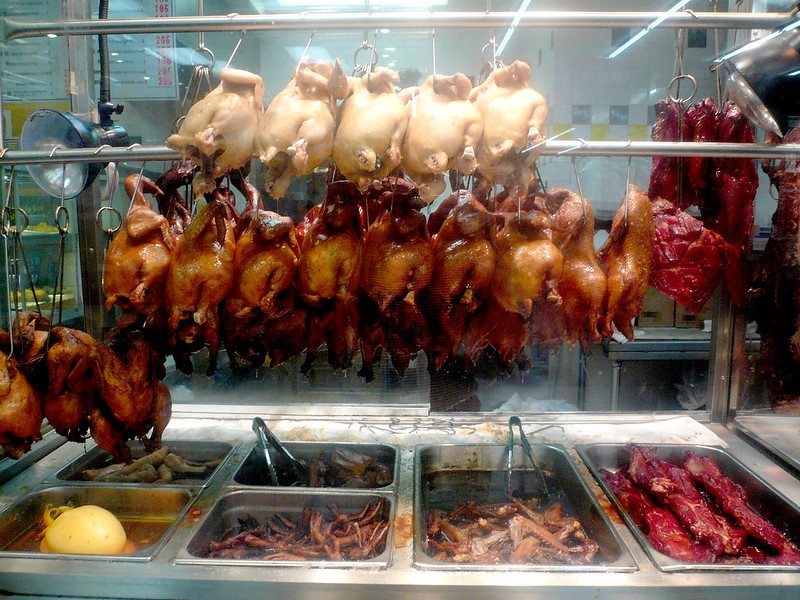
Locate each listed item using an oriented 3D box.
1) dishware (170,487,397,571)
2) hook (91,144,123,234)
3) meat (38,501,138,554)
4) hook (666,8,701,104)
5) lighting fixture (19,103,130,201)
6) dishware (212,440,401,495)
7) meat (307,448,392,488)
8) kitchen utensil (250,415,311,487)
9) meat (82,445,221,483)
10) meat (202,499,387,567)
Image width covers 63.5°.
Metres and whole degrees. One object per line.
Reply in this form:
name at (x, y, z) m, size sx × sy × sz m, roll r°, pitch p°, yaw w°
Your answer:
dishware at (-0.528, 1.060, 2.966) m, size 0.778 × 0.241 × 0.590 m, roll -10°, pitch 12°, yaw 5°
hook at (-1.455, -0.563, 3.268) m, size 0.125 × 0.510 × 0.039 m, roll -1°, pitch -23°, yaw -19°
meat at (-1.458, 1.048, 2.975) m, size 0.334 × 0.214 × 0.261 m, roll -6°, pitch 20°, yaw 25°
hook at (1.342, -1.172, 3.096) m, size 0.122 × 0.540 × 0.053 m, roll 1°, pitch -15°, yaw 18°
lighting fixture at (-1.493, -0.741, 3.117) m, size 0.370 × 0.419 × 0.449 m, roll 17°, pitch 30°, yaw 36°
dishware at (-0.462, 0.888, 3.434) m, size 0.539 × 0.095 × 0.359 m, roll 1°, pitch 13°, yaw 4°
meat at (-0.270, 0.885, 3.359) m, size 0.330 × 0.212 × 0.135 m, roll 3°, pitch -21°, yaw 7°
kitchen utensil at (-0.723, 0.819, 3.555) m, size 0.272 × 0.150 × 0.615 m, roll -7°, pitch 19°, yaw -23°
meat at (-1.314, 0.911, 3.469) m, size 0.423 × 0.074 × 0.283 m, roll -2°, pitch 4°, yaw -1°
meat at (-0.415, 1.116, 3.041) m, size 0.524 × 0.093 × 0.346 m, roll -5°, pitch 9°, yaw 7°
